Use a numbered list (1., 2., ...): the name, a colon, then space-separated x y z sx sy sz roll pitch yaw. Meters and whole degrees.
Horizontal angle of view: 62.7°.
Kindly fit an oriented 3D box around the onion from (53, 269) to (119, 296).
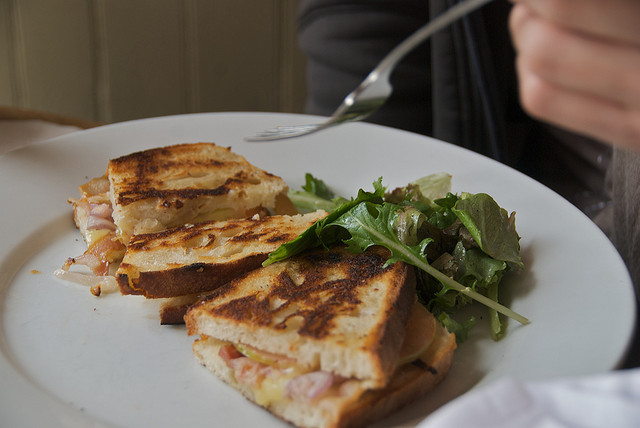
1. onion: -1.039 0.278 2.343 0.301 0.141 0.085 16 91 20

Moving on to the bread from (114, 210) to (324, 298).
1. bread: -0.443 0.144 2.252 0.720 0.129 0.407 -11 24 -15

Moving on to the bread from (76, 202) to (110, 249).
1. bread: -1.109 0.060 2.596 0.141 0.053 0.223 6 27 -22

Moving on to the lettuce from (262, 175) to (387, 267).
1. lettuce: 0.004 0.029 2.349 0.590 0.091 0.128 -37 28 -23

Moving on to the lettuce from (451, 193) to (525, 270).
1. lettuce: 0.675 0.044 2.157 0.109 0.472 0.314 -38 82 -3

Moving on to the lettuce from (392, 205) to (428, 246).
1. lettuce: 0.411 0.041 2.188 0.134 0.152 0.064 -32 93 -50

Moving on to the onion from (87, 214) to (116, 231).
1. onion: -1.077 0.030 2.566 0.089 0.080 0.025 11 97 2
